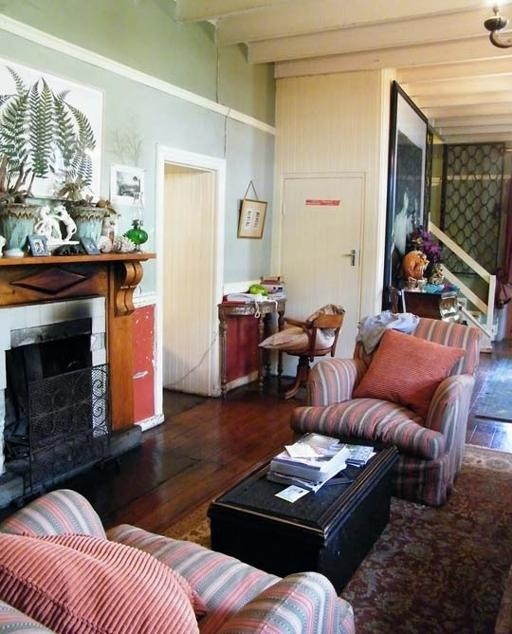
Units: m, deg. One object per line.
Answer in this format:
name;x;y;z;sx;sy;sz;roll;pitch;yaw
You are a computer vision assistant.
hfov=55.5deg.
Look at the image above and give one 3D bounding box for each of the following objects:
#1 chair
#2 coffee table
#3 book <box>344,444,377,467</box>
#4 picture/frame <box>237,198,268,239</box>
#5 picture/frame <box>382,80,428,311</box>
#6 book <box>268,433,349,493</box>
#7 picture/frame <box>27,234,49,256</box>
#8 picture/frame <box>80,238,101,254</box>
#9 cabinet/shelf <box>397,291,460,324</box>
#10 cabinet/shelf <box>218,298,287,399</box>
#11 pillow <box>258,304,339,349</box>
chair;0.533;0.352;5.043;0.625;0.934;0.679;-2;9;-25
coffee table;0.145;0.628;1.956;0.465;0.390;0.824;5;13;30
book;0.488;0.654;2.308;0.098;0.023;0.100;0;12;22
picture/frame;-0.042;-1.074;5.315;0.022;0.417;0.580;5;11;-27
picture/frame;1.892;-1.434;6.126;0.219;2.546;1.764;3;6;26
book;0.254;0.626;2.130;0.175;0.076;0.245;8;16;37
picture/frame;-1.175;-0.387;2.615;0.029;0.105;0.109;-4;-1;29
picture/frame;-1.009;-0.439;3.005;0.112;0.102;0.162;3;6;25
cabinet/shelf;2.095;-0.159;5.862;0.494;0.285;0.649;3;6;34
cabinet/shelf;-0.067;0.323;5.179;0.281;0.887;0.973;2;7;23
pillow;0.500;0.137;4.895;0.579;0.382;0.514;5;4;24
